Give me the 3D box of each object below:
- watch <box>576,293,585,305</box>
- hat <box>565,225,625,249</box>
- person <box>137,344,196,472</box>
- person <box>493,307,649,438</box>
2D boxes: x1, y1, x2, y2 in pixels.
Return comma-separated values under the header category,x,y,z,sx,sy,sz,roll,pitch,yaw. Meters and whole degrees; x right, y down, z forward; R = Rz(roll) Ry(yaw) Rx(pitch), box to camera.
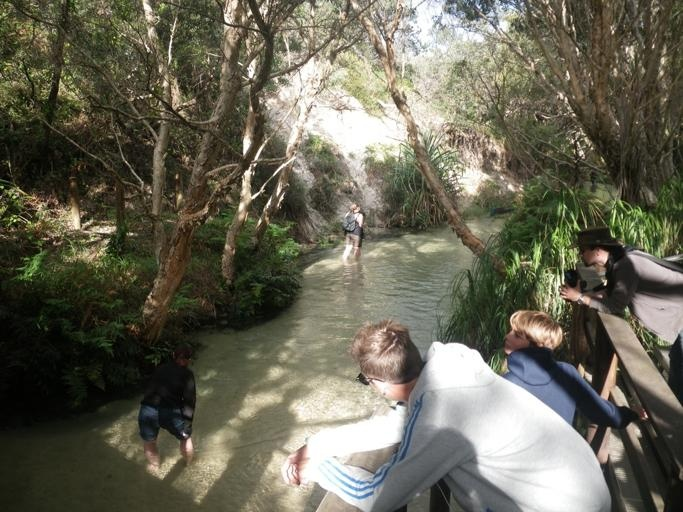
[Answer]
category,x,y,z,sx,sy,sz,roll,pitch,yaw
watch,2.519,0.439,5.020,0.064,0.103,0.112,8,-31,14
hat,2.676,-0.186,4.961,0.284,0.124,0.265,-6,10,-5
person,-2.173,1.897,5.946,0.698,1.611,0.330,-6,2,-14
person,2.096,1.026,4.184,1.281,0.534,1.528,-16,-38,23
